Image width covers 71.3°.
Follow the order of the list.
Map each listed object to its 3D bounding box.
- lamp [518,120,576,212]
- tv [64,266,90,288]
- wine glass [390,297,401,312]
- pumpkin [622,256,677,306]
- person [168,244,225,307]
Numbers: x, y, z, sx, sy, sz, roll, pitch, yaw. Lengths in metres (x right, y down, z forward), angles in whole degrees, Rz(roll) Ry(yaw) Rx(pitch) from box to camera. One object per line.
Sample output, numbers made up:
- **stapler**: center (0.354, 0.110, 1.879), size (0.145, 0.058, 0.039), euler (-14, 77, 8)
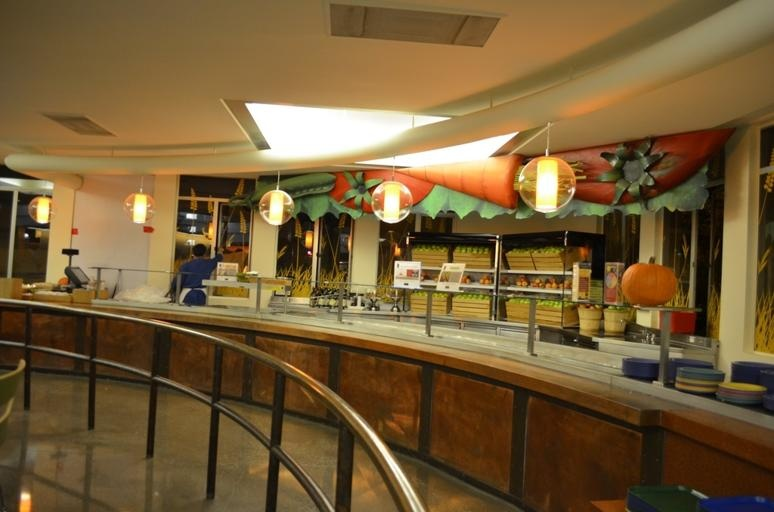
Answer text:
- **lamp**: center (1.600, -0.747, 5.409), size (0.455, 0.667, 0.258), euler (4, 3, -19)
- **tv**: center (-5.720, 0.374, 9.971), size (0.357, 0.330, 1.494), euler (3, 3, -30)
- **wine glass**: center (0.115, 0.579, 6.304), size (0.169, 0.170, 0.159), euler (6, -7, -15)
- **pumpkin**: center (2.077, 0.195, 4.273), size (0.258, 0.361, 0.326), euler (4, 2, -9)
- **person**: center (-2.909, 0.308, 8.305), size (0.945, 1.547, 0.522), euler (3, 2, -9)
